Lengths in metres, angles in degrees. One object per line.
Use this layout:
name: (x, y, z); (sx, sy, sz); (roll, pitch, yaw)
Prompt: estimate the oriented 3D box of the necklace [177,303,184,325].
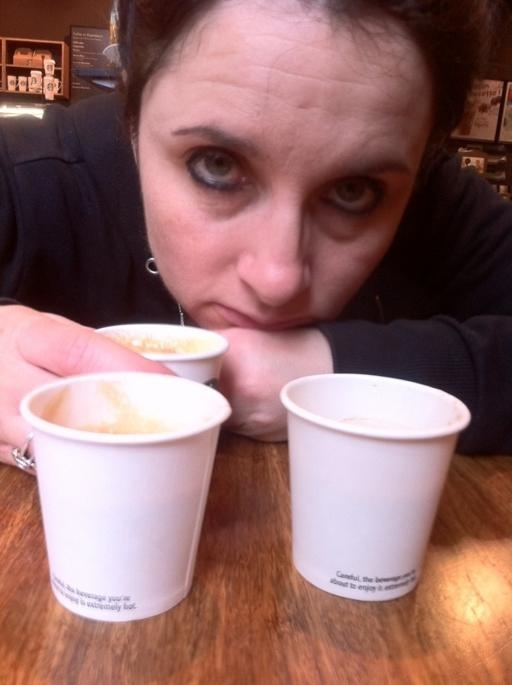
necklace: (-0.177, -0.067, 1.336); (0.013, 0.046, 0.044); (-1, -5, 10)
